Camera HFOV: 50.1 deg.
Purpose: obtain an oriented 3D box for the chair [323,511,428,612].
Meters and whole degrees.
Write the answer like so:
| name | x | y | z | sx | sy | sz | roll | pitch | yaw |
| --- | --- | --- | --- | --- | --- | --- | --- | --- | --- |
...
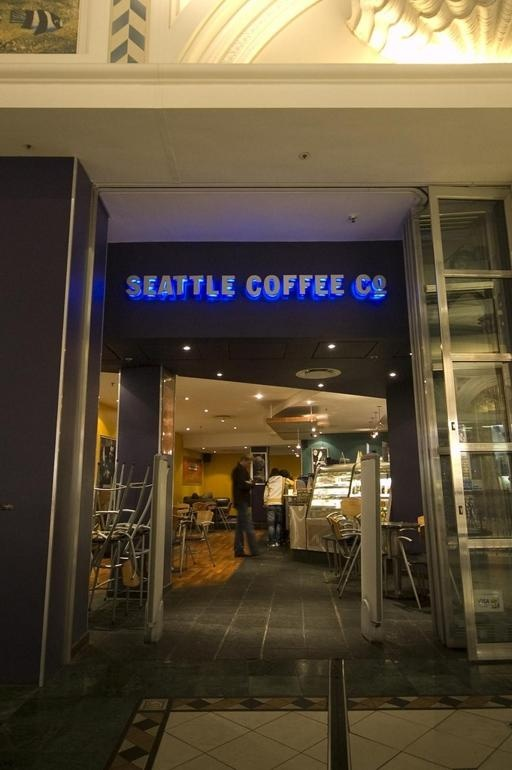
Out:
| name | x | y | z | sx | sy | sz | roll | pitch | yaw |
| --- | --- | --- | --- | --- | --- | --- | --- | --- | --- |
| chair | 1.632 | 1.971 | 6.376 | 1.369 | 0.723 | 1.351 | 0 | -2 | -37 |
